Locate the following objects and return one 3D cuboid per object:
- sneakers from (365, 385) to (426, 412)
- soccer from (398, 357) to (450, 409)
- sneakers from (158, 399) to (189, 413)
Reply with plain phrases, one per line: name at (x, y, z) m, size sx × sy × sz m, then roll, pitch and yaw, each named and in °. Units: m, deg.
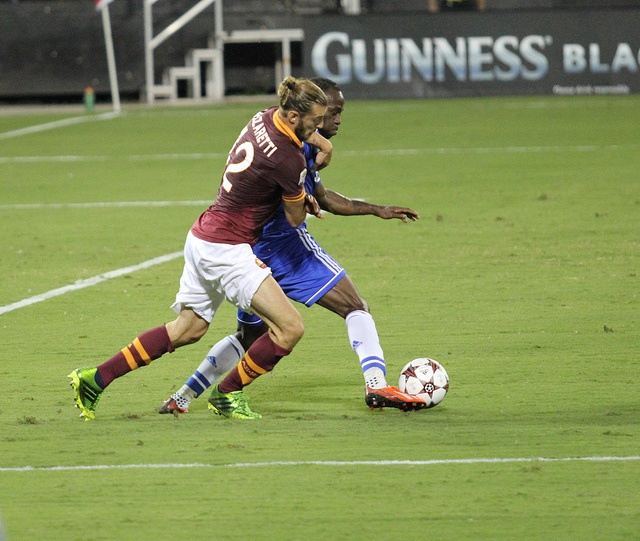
sneakers at (0.535, 0.924, 10.241) m, size 0.465 × 0.184 × 0.167 m, roll 2°, pitch -9°, yaw 8°
soccer at (0.791, 0.856, 10.573) m, size 0.409 × 0.366 × 0.374 m, roll 3°, pitch 2°, yaw -4°
sneakers at (-1.086, 1.014, 10.466) m, size 0.137 × 0.059 × 0.148 m, roll -2°, pitch 0°, yaw 1°
